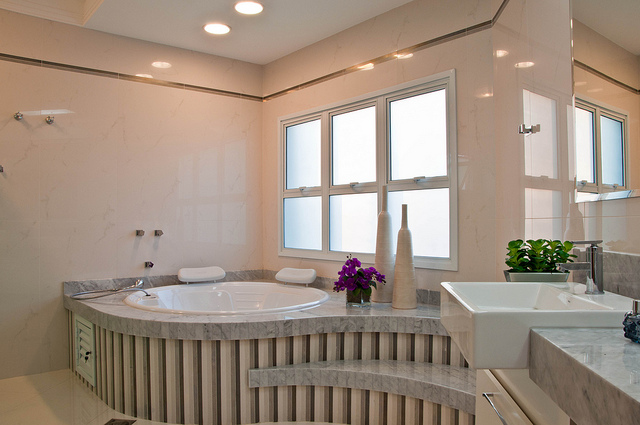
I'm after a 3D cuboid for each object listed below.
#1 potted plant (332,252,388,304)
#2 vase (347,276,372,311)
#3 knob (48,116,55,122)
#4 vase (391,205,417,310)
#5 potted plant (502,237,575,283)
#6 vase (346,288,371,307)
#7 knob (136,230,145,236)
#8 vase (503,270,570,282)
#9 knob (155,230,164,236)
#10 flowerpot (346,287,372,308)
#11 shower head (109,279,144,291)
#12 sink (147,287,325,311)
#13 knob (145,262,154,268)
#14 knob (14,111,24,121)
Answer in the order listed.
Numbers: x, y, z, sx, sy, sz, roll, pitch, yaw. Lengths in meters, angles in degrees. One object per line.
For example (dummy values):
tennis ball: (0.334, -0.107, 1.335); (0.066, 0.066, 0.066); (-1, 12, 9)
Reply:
potted plant: (0.279, 0.535, 3.604); (0.321, 0.267, 0.385); (-15, 24, -37)
vase: (0.307, 0.628, 3.527); (0.245, 0.217, 0.215); (0, -8, 22)
knob: (-2.324, -0.805, 3.905); (0.044, 0.058, 0.019); (-1, -11, -36)
vase: (0.652, 0.337, 3.505); (0.177, 0.796, 0.146); (1, -3, -15)
potted plant: (1.244, 0.257, 2.499); (0.398, 0.238, 0.279); (1, -4, -28)
vase: (0.304, 0.665, 3.544); (0.142, 0.133, 0.146); (2, -4, -38)
knob: (-1.673, 0.182, 4.229); (0.042, 0.076, 0.080); (-1, -1, 38)
vase: (1.167, 0.344, 2.438); (0.305, 0.056, 0.076); (-1, -3, 19)
knob: (-1.521, 0.194, 4.302); (0.082, 0.075, 0.042); (2, -3, -43)
flowerpot: (0.310, 0.659, 3.544); (0.146, 0.134, 0.145); (2, -4, -39)
shower head: (-1.733, 0.651, 4.078); (0.287, 0.083, 0.225); (1, -4, -24)
sink: (-0.765, 0.796, 4.121); (1.380, 0.208, 0.413); (0, -3, 1)
knob: (-1.602, 0.486, 4.254); (0.043, 0.051, 0.080); (1, -1, 34)
knob: (-2.518, -0.803, 3.785); (0.066, 0.066, 0.048); (2, -4, -33)
